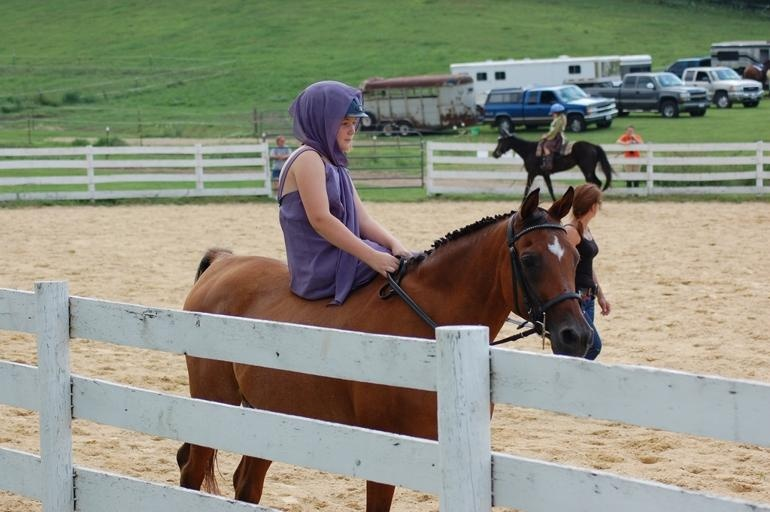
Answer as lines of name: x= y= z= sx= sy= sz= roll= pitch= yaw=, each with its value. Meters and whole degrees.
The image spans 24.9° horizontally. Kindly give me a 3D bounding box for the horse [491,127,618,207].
horse: x=8.366 y=-4.293 z=87.124 sx=5.908 sy=4.076 sz=1.376 roll=-2 pitch=2 yaw=6
